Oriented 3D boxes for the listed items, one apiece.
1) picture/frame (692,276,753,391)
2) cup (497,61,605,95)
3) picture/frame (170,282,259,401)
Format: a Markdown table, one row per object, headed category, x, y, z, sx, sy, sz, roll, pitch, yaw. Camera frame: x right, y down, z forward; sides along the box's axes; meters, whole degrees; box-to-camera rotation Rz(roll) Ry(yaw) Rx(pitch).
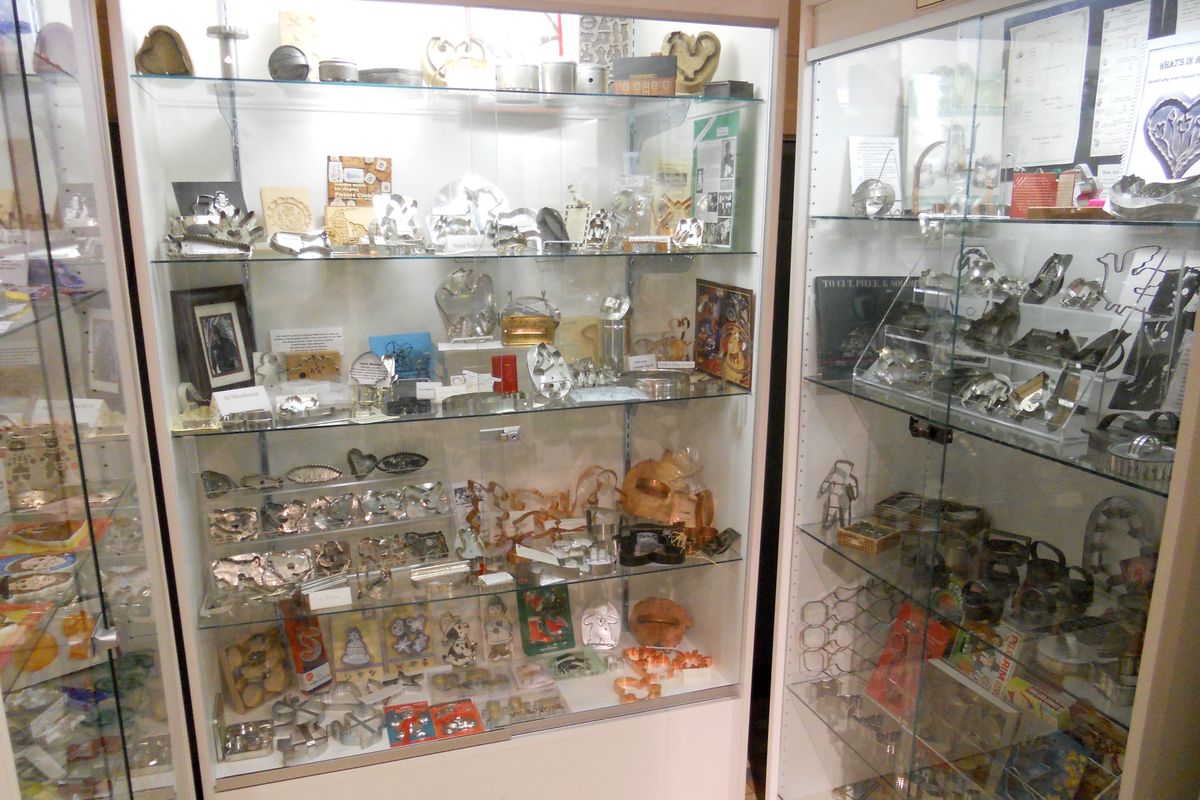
| category | x | y | z | sx | sy | sz | roll | pitch | yaw |
| --- | --- | --- | --- | --- | --- | --- | --- | --- | --- |
| picture/frame | 0.440 | -0.249 | 2.963 | 0.029 | 0.390 | 0.343 | -10 | 18 | -35 |
| cup | -0.158 | -1.054 | 2.721 | 0.365 | 0.101 | 0.066 | -5 | 14 | -7 |
| picture/frame | -1.232 | -0.186 | 2.639 | 0.044 | 0.430 | 0.318 | 3 | 12 | 45 |
